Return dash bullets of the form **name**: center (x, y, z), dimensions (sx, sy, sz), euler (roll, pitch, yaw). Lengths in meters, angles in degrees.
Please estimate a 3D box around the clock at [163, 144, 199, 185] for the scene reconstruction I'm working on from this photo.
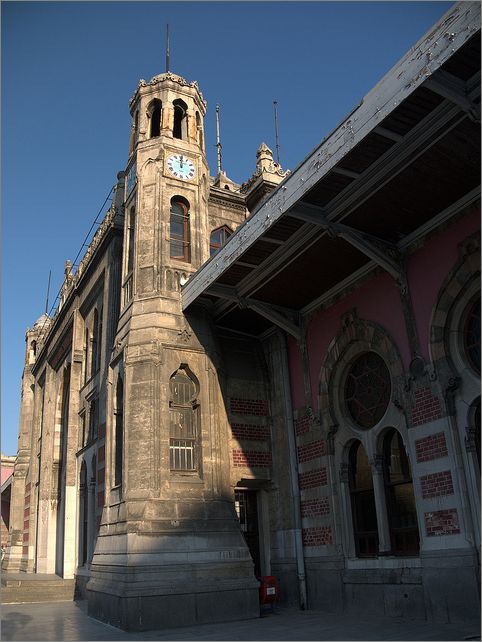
- **clock**: center (-1.768, -4.435, 13.815), dimensions (0.931, 1.206, 0.138), euler (19, -34, -33)
